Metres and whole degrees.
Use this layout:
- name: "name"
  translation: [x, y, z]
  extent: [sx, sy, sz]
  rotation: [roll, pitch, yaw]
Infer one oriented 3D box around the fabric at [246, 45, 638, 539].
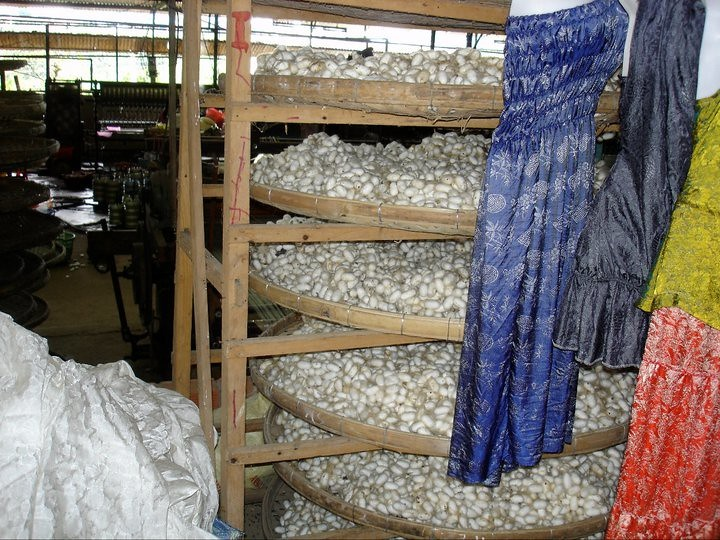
- name: "fabric"
  translation: [0.140, 0.024, 3.703]
  extent: [1.918, 2.180, 2.027]
  rotation: [0, 9, 2]
